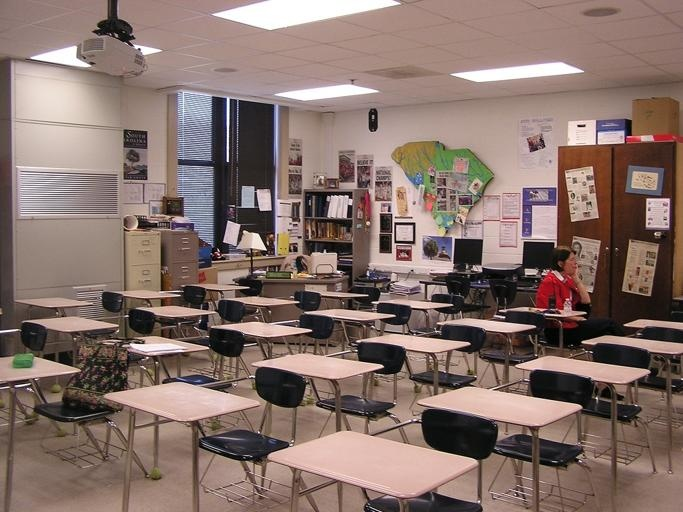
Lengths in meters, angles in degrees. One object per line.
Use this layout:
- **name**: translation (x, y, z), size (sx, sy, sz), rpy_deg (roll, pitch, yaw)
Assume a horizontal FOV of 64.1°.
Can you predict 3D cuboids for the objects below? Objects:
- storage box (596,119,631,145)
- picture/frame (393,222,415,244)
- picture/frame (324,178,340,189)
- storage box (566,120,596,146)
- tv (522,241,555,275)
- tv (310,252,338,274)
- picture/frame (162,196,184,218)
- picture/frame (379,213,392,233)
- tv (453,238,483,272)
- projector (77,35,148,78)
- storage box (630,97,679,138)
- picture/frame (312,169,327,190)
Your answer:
- **storage box**: translation (3.947, -1.809, 7.954), size (0.463, 0.360, 0.442), rpy_deg (3, 7, 30)
- **picture/frame**: translation (1.214, -0.442, 10.509), size (0.517, 0.427, 0.034), rpy_deg (2, 3, 33)
- **picture/frame**: translation (-0.212, -1.436, 10.950), size (0.261, 0.212, 0.236), rpy_deg (2, 5, 20)
- **storage box**: translation (3.570, -1.819, 8.171), size (0.434, 0.350, 0.430), rpy_deg (1, 2, 41)
- **tv**: translation (3.110, 0.022, 8.578), size (0.678, 0.541, 0.082), rpy_deg (2, -2, 27)
- **tv**: translation (-0.317, 0.122, 9.153), size (0.651, 0.431, 0.333), rpy_deg (1, -1, -30)
- **picture/frame**: translation (-2.844, -0.809, 9.103), size (0.427, 0.360, 0.042), rpy_deg (-10, 15, -41)
- **picture/frame**: translation (0.877, -0.640, 10.735), size (0.302, 0.382, 0.047), rpy_deg (4, 8, 37)
- **tv**: translation (2.206, -0.053, 9.549), size (0.602, 0.473, 0.136), rpy_deg (3, 4, 36)
- **projector**: translation (-1.968, -1.710, 4.811), size (0.377, 0.156, 0.485), rpy_deg (1, 5, 16)
- **storage box**: translation (4.627, -1.960, 7.961), size (0.673, 0.548, 0.687), rpy_deg (0, 0, 45)
- **picture/frame**: translation (-0.413, -1.528, 11.097), size (0.379, 0.411, 0.341), rpy_deg (3, 3, 9)
